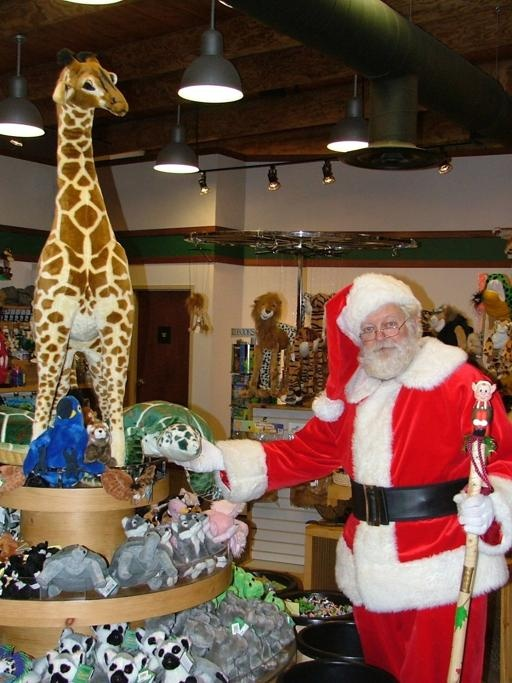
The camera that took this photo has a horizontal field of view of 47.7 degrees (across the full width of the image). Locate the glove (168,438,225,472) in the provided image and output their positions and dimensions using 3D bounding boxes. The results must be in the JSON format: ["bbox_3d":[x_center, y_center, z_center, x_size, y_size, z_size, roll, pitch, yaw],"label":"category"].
[{"bbox_3d":[-0.167,0.343,1.728,0.100,0.045,0.127,29,-18,-25],"label":"glove"}]

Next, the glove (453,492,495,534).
[{"bbox_3d":[0.478,0.363,1.271,0.089,0.095,0.037,0,-1,-12],"label":"glove"}]

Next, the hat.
[{"bbox_3d":[0.379,0.020,1.817,0.361,0.434,0.217,7,1,37],"label":"hat"}]

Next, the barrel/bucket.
[{"bbox_3d":[0.244,1.141,2.412,0.495,0.471,0.485,1,-8,0],"label":"barrel/bucket"}]
